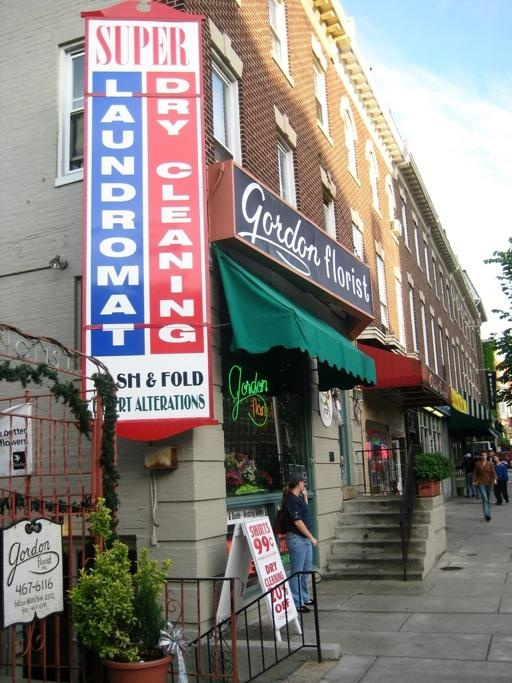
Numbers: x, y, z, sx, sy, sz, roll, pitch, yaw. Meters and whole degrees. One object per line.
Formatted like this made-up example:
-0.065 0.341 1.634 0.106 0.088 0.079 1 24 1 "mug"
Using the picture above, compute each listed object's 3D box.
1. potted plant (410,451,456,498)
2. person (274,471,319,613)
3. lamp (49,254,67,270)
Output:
3.053 2.252 12.573 0.753 0.994 1.029 -2 -6 19 "potted plant"
0.449 2.301 8.240 0.451 1.552 1.405 -5 -9 1 "person"
-2.376 -0.943 8.840 0.159 0.205 0.089 11 33 2 "lamp"
